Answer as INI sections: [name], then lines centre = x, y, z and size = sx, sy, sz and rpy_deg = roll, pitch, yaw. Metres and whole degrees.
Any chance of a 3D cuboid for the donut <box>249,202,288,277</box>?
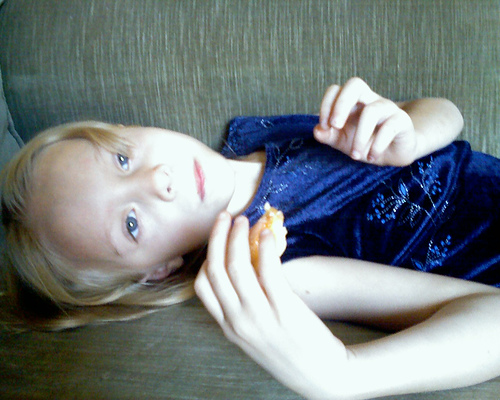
[donut]
centre = 0.037, 0.077, 1.262
size = 0.066, 0.096, 0.154
rpy_deg = -12, -63, -34
